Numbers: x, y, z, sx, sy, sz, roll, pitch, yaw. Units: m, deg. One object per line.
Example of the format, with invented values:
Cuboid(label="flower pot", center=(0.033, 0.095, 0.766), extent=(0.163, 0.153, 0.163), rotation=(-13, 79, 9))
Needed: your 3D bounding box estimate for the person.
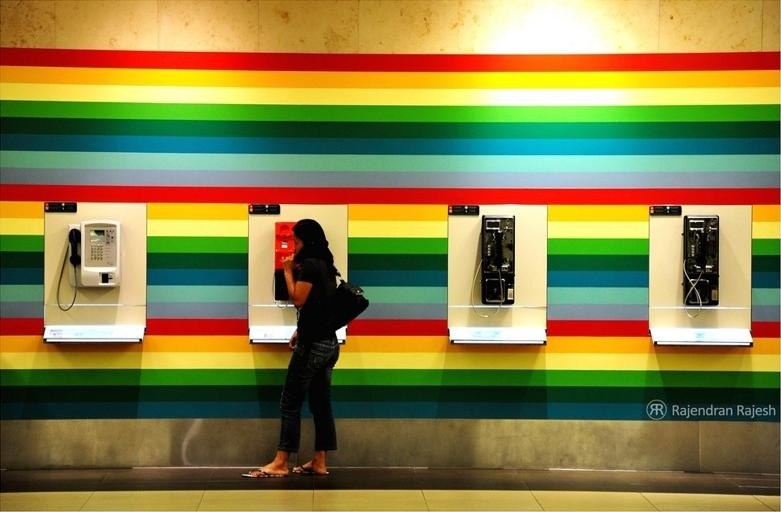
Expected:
Cuboid(label="person", center=(-0.671, 0.816, 6.933), extent=(0.820, 2.274, 0.504), rotation=(-1, -1, 44))

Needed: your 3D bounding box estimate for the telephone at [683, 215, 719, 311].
Cuboid(label="telephone", center=(2.850, 0.051, 7.279), extent=(0.306, 0.819, 0.101), rotation=(-1, -1, -2))

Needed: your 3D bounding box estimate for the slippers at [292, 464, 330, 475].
Cuboid(label="slippers", center=(-0.719, 1.919, 7.128), extent=(0.316, 0.077, 0.118), rotation=(5, -12, -2))

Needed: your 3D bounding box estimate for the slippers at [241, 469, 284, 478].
Cuboid(label="slippers", center=(-1.147, 1.937, 7.046), extent=(0.335, 0.073, 0.138), rotation=(5, -17, -1))
